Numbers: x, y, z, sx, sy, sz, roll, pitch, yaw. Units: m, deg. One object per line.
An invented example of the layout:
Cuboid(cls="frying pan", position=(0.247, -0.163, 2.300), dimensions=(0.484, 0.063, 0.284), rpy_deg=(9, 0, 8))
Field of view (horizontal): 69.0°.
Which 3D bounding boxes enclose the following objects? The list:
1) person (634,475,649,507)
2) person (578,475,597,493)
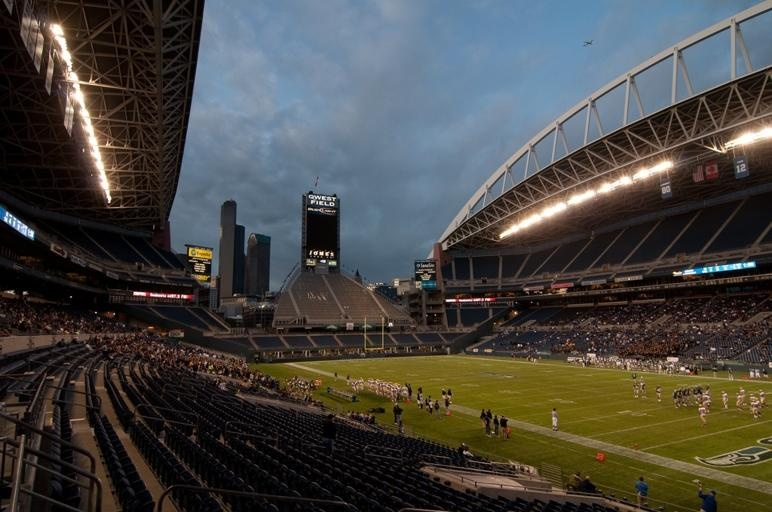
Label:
Cuboid(cls="person", position=(14.722, 13.532, 32.386), dimensions=(0.609, 1.478, 1.686), rpy_deg=(-2, -2, 21))
Cuboid(cls="person", position=(11.741, 13.358, 32.904), dimensions=(0.923, 0.920, 0.577), rpy_deg=(-1, -2, 16))
